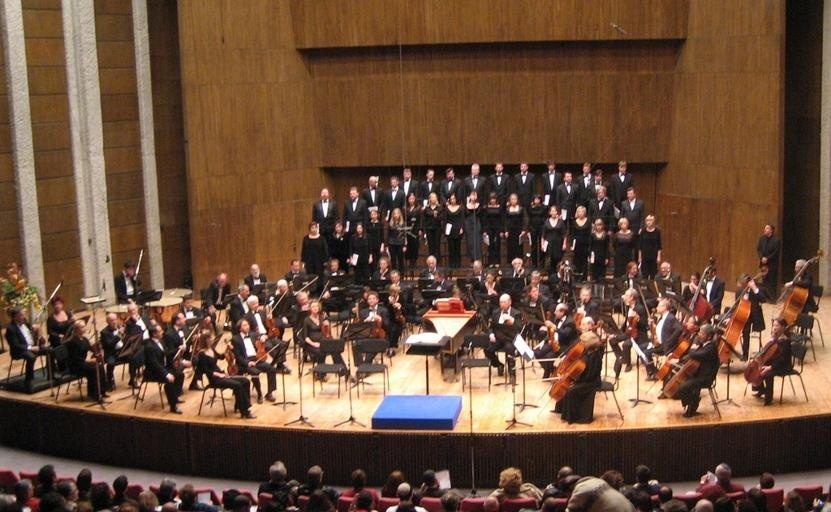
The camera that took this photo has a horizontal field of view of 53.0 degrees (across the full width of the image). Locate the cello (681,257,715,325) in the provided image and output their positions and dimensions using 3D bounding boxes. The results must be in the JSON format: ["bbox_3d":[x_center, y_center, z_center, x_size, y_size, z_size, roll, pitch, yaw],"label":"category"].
[{"bbox_3d":[6.864,0.990,20.085,0.694,2.373,0.749,1,-2,-1],"label":"cello"}]

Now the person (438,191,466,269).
[{"bbox_3d":[1.045,-0.736,23.995,0.566,2.205,0.479,2,2,-15],"label":"person"}]

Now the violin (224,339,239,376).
[{"bbox_3d":[-4.141,2.261,18.468,0.211,0.712,0.329,-8,-3,36],"label":"violin"}]

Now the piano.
[{"bbox_3d":[0.817,2.008,20.159,1.081,1.032,1.646,2,36,14],"label":"piano"}]

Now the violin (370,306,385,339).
[{"bbox_3d":[-0.889,1.630,20.200,0.315,0.668,0.195,-7,6,36],"label":"violin"}]
